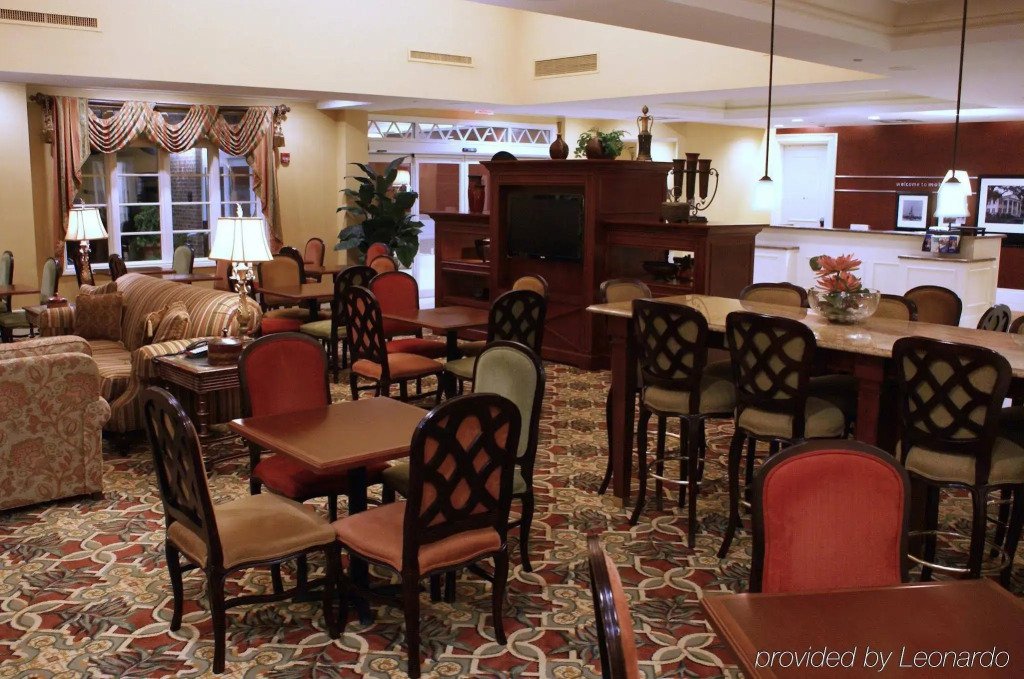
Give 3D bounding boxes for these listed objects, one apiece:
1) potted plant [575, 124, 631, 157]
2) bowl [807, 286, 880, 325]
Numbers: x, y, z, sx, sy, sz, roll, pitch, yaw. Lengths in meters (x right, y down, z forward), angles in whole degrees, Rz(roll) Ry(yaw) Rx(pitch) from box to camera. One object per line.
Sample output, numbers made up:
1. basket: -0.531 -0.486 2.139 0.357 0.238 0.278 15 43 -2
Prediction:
1. potted plant: 1.090 -2.378 8.920 0.516 0.362 0.716 0 11 0
2. bowl: 2.321 -0.256 4.960 0.322 0.170 0.312 -2 11 0
